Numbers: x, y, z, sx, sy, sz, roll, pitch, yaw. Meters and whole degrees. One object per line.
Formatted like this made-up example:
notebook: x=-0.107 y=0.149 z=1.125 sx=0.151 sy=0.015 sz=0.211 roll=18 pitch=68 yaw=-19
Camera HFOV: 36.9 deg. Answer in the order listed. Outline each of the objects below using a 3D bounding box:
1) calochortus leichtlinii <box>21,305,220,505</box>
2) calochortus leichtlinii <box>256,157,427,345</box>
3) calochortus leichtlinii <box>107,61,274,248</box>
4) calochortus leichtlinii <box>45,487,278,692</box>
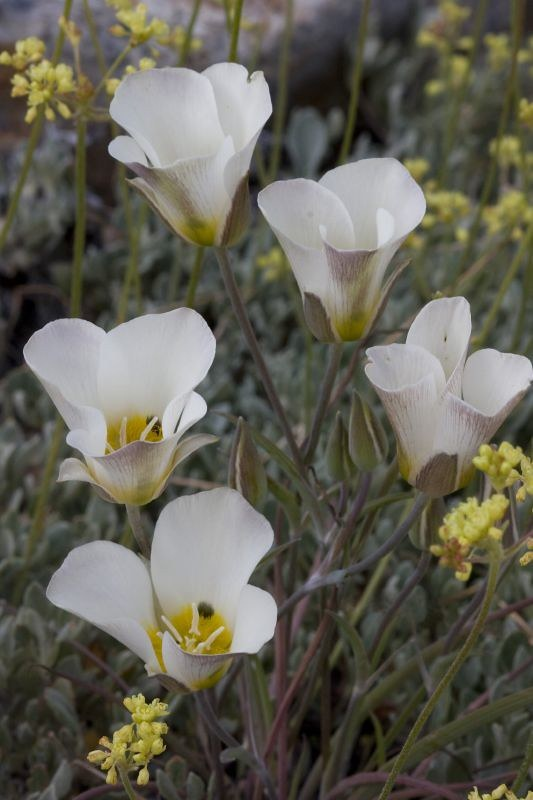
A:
calochortus leichtlinii: x=-0.066 y=0.005 z=0.518 sx=0.123 sy=0.106 sz=0.114 roll=-22 pitch=49 yaw=-15
calochortus leichtlinii: x=0.061 y=-0.096 z=0.533 sx=0.118 sy=0.105 sz=0.097 roll=-23 pitch=36 yaw=-24
calochortus leichtlinii: x=-0.045 y=-0.143 z=0.469 sx=0.087 sy=0.096 sz=0.085 roll=0 pitch=38 yaw=-7
calochortus leichtlinii: x=-0.056 y=0.110 z=0.444 sx=0.119 sy=0.099 sz=0.091 roll=4 pitch=37 yaw=-2
